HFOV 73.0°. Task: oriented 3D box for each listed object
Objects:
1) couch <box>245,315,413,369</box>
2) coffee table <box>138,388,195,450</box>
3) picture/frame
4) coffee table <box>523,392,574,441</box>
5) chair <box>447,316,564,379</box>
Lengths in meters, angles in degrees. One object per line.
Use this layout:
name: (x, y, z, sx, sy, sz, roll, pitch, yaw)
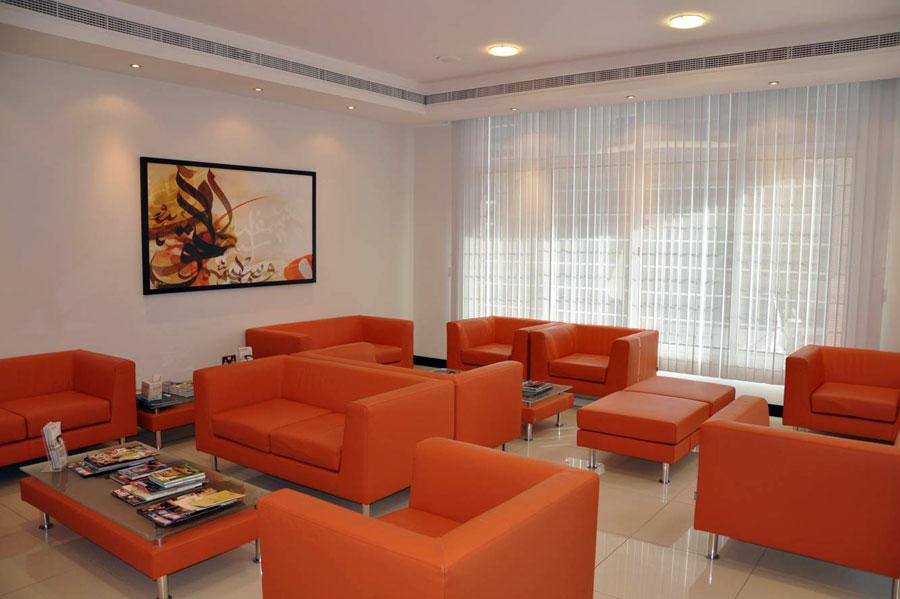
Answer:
couch: (-1.333, 0.507, 7.920, 0.782, 0.623, 1.524, 4, 6, 43)
coffee table: (-2.892, 1.260, 6.325, 0.540, 0.363, 0.781, -6, 10, -41)
picture/frame: (-2.744, -0.884, 7.317, 0.037, 1.190, 1.826, 7, 9, 41)
coffee table: (1.003, 1.177, 6.429, 0.458, 0.336, 0.720, 0, 4, 36)
chair: (0.668, 0.604, 8.277, 1.132, 0.778, 0.834, 5, 6, 37)
